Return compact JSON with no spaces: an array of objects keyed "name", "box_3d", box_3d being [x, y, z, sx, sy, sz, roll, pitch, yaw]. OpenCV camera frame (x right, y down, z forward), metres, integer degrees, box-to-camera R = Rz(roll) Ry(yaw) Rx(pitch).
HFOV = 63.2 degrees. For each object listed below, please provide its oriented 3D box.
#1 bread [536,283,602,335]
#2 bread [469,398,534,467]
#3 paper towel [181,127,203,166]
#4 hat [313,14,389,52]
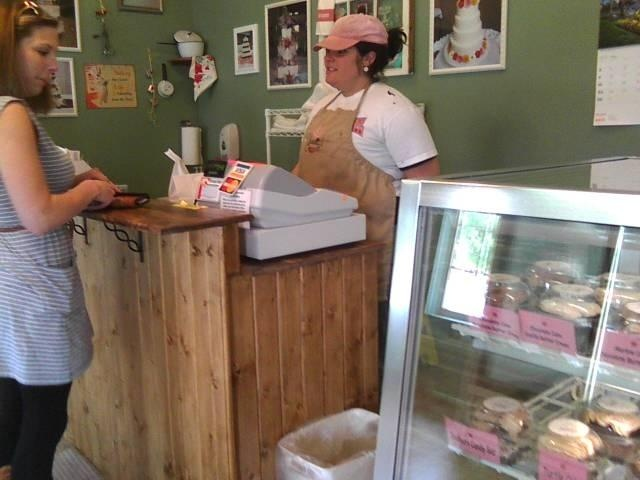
[{"name":"bread","box_3d":[0.554,0.141,1.132,0.098,0.086,0.023,15,-5,30]},{"name":"bread","box_3d":[0.422,0.464,1.273,0.153,0.151,0.111,1,2,9]},{"name":"paper towel","box_3d":[-1.221,-0.903,4.995,0.195,0.370,0.317,-2,15,-14]},{"name":"hat","box_3d":[0.177,-1.025,2.569,0.271,0.142,0.191,-1,23,-10]}]
